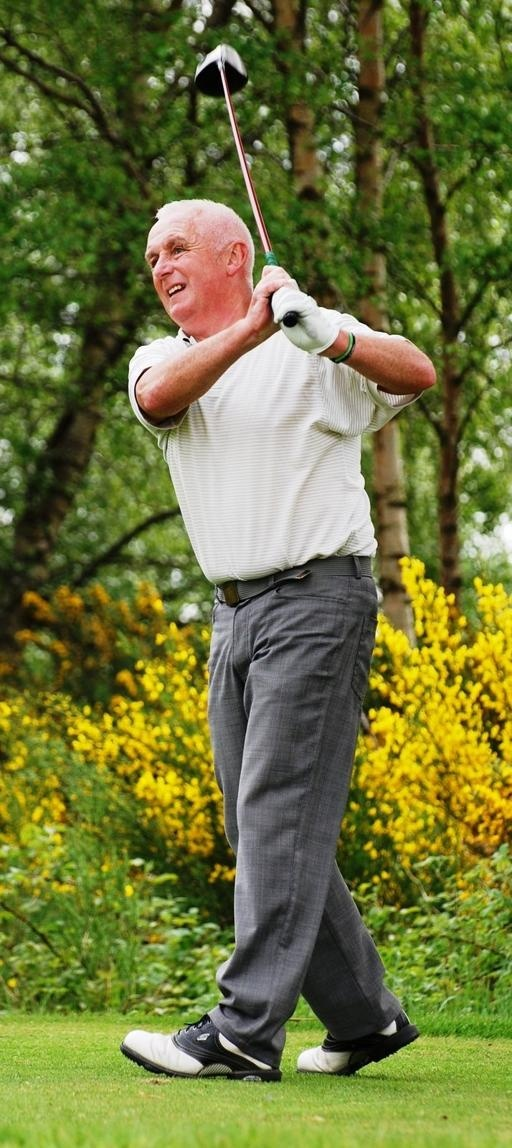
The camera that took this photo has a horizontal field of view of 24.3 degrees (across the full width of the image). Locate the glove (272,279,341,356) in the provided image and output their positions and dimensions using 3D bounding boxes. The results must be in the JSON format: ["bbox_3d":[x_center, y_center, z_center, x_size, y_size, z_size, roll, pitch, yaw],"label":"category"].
[{"bbox_3d":[0.097,-0.519,2.361,0.139,0.144,0.101,3,-12,0],"label":"glove"}]

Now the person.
[{"bbox_3d":[0.028,0.067,2.511,0.702,1.944,0.629,3,-12,2],"label":"person"}]
